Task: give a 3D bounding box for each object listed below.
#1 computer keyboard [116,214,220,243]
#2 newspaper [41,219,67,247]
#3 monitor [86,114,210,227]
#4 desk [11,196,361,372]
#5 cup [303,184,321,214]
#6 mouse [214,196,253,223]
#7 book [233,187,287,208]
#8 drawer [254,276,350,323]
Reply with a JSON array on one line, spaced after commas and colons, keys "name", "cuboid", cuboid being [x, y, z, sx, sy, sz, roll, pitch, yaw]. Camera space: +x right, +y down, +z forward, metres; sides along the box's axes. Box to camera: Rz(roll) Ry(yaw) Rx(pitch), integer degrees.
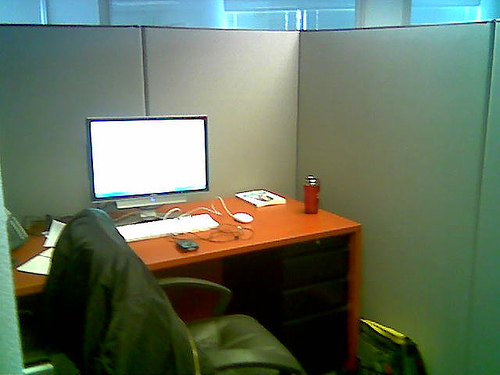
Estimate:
[{"name": "computer keyboard", "cuboid": [-0.428, 0.205, 2.181, 0.510, 0.058, 0.211, -9, 16, -25]}, {"name": "newspaper", "cuboid": [-1.092, 0.234, 2.267, 0.037, 0.172, 0.499, 10, -6, -39]}, {"name": "monitor", "cuboid": [-0.570, -0.114, 2.359, 0.666, 0.588, 0.210, -5, 22, -25]}, {"name": "desk", "cuboid": [-0.013, 0.572, 2.384, 1.195, 0.863, 0.769, -7, 15, -16]}, {"name": "cup", "cuboid": [0.357, 0.057, 2.422, 0.082, 0.178, 0.123, -1, 15, 4]}, {"name": "mouse", "cuboid": [-0.079, 0.137, 2.351, 0.189, 0.077, 0.069, 13, 20, 37]}, {"name": "book", "cuboid": [0.082, 0.066, 2.679, 0.236, 0.031, 0.357, -11, 17, -30]}, {"name": "drawer", "cuboid": [0.249, 0.610, 2.321, 0.320, 0.205, 0.314, -3, 6, -30]}]
